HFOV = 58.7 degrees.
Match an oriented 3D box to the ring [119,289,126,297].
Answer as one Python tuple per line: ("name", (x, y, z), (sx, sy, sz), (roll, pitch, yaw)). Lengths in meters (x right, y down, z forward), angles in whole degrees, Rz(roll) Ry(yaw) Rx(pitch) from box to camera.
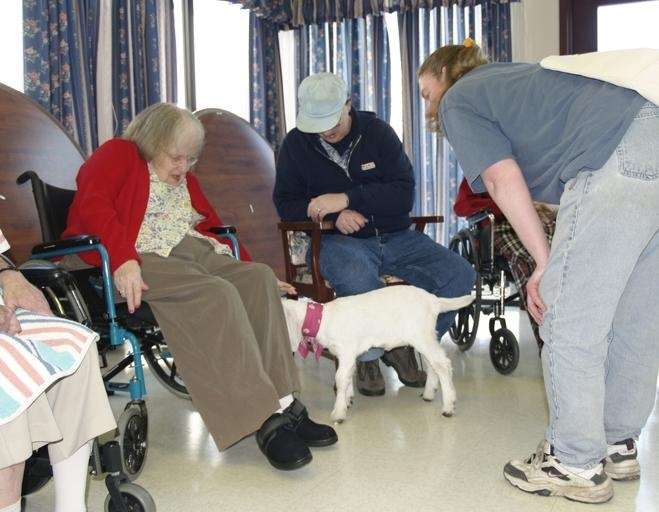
("ring", (-0.743, 0.141, 2.105), (0.023, 0.042, 0.010), (-13, 46, -5))

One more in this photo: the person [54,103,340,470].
("person", (-0.469, -0.113, 2.803), (1.379, 1.744, 0.892), (10, 21, 34))

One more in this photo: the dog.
("dog", (0.190, 0.401, 2.592), (0.893, 0.669, 0.320), (-6, 5, 0))

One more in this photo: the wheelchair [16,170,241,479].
("wheelchair", (-0.833, 0.155, 2.390), (0.737, 1.069, 0.668), (-3, 7, 34))

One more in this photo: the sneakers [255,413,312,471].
("sneakers", (-0.166, 0.671, 2.105), (0.121, 0.194, 0.207), (-7, 8, -40))

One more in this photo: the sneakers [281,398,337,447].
("sneakers", (-0.107, 0.632, 2.322), (0.265, 0.196, 0.113), (1, 16, 20))
